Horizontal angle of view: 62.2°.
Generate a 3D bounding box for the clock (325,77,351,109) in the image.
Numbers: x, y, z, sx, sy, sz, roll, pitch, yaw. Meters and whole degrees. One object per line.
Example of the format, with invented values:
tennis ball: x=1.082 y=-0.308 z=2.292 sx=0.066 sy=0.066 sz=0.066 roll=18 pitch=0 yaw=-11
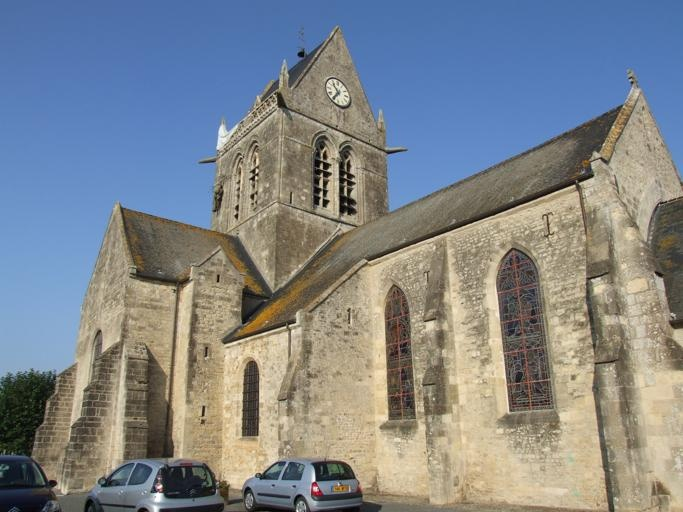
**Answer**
clock: x=-0.283 y=-9.839 z=34.228 sx=0.182 sy=2.286 sz=2.287 roll=-24 pitch=-20 yaw=36
